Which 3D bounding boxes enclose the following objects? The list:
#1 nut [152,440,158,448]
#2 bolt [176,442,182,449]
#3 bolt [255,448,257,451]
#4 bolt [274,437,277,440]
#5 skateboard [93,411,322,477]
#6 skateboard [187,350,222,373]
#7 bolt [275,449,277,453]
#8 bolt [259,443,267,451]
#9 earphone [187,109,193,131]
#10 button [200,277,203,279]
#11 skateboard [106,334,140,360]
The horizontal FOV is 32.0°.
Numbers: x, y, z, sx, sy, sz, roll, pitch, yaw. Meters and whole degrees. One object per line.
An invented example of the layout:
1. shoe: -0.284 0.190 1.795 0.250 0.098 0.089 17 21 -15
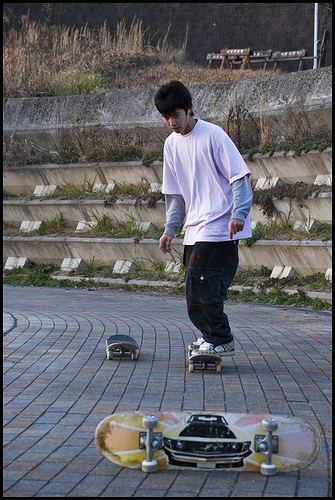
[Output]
1. nut: -0.045 0.692 2.087 0.021 0.026 0.007 -5 5 -35
2. bolt: 0.040 0.711 2.129 0.021 0.018 0.006 10 7 -2
3. bolt: 0.317 0.713 2.087 0.002 0.007 0.007 -7 6 -44
4. bolt: 0.384 0.667 2.073 0.010 0.011 0.003 -3 4 -17
5. skateboard: 0.160 0.707 2.114 0.840 0.272 0.111 0 -1 3
6. skateboard: 0.225 0.679 3.629 0.195 0.121 0.225 -2 4 -2
7. bolt: 0.385 0.716 2.078 0.006 0.009 0.006 0 -7 -5
8. bolt: 0.334 0.687 2.046 0.026 0.025 0.007 -1 4 14
9. earphone: 0.133 -0.792 3.532 0.026 0.114 0.086 -2 4 9
10. button: 0.207 0.167 3.532 0.017 0.015 0.004 -4 1 10
11. skateboard: -0.311 0.651 3.940 0.201 0.147 0.231 -3 4 -7
